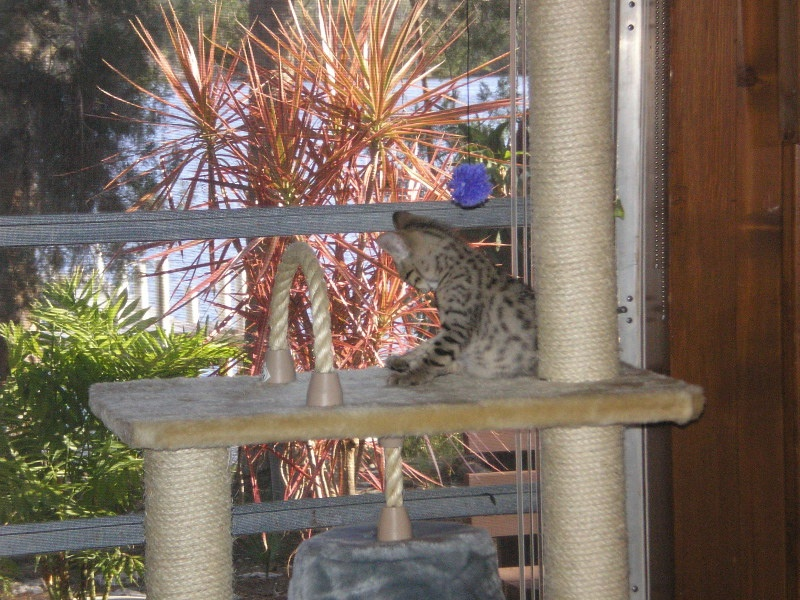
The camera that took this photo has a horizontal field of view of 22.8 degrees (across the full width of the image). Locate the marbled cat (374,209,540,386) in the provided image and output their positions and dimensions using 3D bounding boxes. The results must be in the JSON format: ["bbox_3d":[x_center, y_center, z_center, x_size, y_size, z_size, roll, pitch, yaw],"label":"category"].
[{"bbox_3d":[0.314,-0.013,5.791,0.277,0.479,0.926,-10,10,-42],"label":"marbled cat"}]

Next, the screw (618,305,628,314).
[{"bbox_3d":[0.649,0.024,5.897,0.022,0.023,0.037,-4,1,43],"label":"screw"}]

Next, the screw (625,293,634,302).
[{"bbox_3d":[0.678,-0.010,5.902,0.021,0.020,0.004,-5,1,-3],"label":"screw"}]

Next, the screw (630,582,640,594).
[{"bbox_3d":[0.696,0.869,5.921,0.026,0.027,0.008,-5,1,-1],"label":"screw"}]

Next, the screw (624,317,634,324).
[{"bbox_3d":[0.676,0.056,5.903,0.018,0.004,0.015,6,-40,-5],"label":"screw"}]

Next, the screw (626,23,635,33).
[{"bbox_3d":[0.674,-0.819,5.849,0.020,0.020,0.011,-45,-4,2],"label":"screw"}]
